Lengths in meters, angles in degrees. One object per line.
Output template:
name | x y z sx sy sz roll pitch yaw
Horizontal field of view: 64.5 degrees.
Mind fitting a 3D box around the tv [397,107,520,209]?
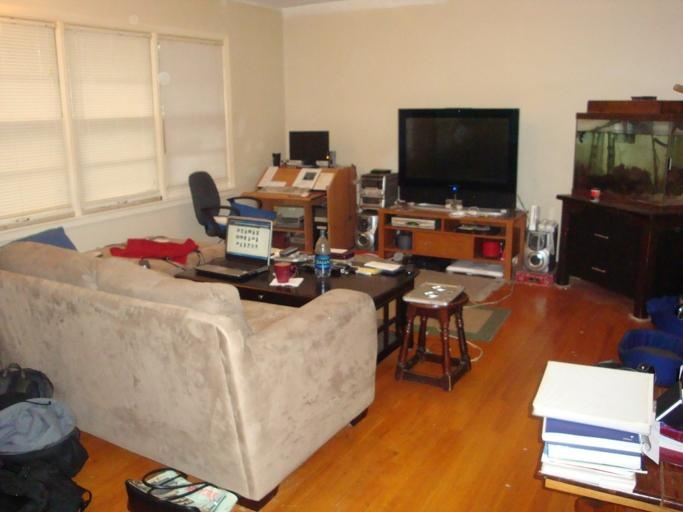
tv | 1.274 -1.051 5.673 1.087 0.868 0.113 7 19 26

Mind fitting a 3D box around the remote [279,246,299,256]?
remote | -0.400 -0.033 4.167 0.070 0.029 0.123 8 19 24

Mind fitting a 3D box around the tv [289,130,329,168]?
tv | -0.375 -1.280 6.453 0.429 0.300 0.123 12 25 26

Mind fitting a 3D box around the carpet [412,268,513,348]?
carpet | 1.240 0.446 4.780 0.728 0.175 0.667 5 28 31

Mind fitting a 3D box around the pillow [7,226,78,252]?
pillow | -2.215 -0.139 4.121 0.361 0.107 0.348 26 21 28

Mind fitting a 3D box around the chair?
chair | -1.064 -0.470 5.690 0.807 0.930 0.780 5 18 13

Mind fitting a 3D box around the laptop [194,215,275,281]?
laptop | -0.709 -0.060 3.861 0.566 0.477 0.452 9 12 32

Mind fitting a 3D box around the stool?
stool | 0.654 0.491 3.762 0.493 0.603 0.724 2 15 14
